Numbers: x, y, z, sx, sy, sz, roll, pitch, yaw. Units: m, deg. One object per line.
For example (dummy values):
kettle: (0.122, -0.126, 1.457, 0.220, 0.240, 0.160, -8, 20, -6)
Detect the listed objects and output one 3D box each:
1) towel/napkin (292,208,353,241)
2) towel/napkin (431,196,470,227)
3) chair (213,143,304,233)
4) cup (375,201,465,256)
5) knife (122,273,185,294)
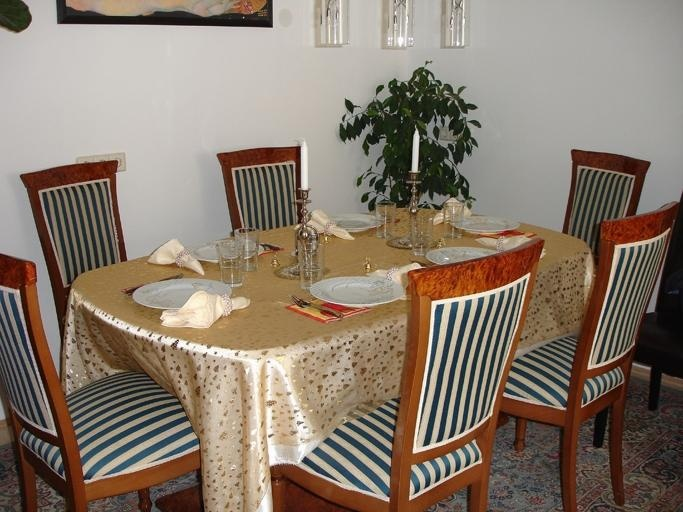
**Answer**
towel/napkin: (-0.065, -0.142, 2.528, 0.194, 0.079, 0.152, 31, 33, 28)
towel/napkin: (0.557, -0.214, 2.524, 0.195, 0.091, 0.179, -14, 17, -36)
chair: (-0.449, -0.431, 3.312, 0.468, 0.763, 0.505, -10, 17, -32)
cup: (0.381, -0.109, 2.437, 0.236, 0.140, 0.371, 10, 13, 31)
knife: (-0.672, 0.101, 1.969, 0.024, 0.019, 0.218, 7, 13, 23)
